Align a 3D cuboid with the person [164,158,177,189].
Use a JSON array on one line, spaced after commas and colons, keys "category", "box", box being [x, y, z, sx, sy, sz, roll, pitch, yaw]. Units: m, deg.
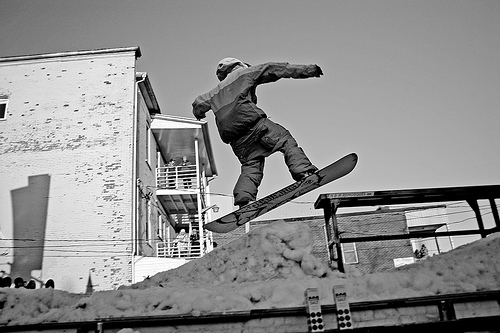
[{"category": "person", "box": [-3.571, 0.336, 27.174, 0.421, 0.421, 1.267, 1, 16, -14]}]
